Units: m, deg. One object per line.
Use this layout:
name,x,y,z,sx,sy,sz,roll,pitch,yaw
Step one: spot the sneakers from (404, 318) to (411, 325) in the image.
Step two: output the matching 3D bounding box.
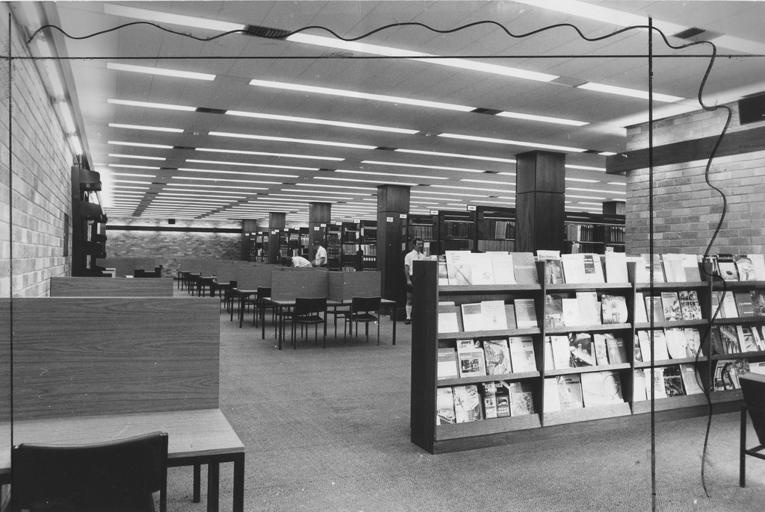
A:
sneakers,0.530,1.378,12.297,0.114,0.086,0.234,0,-5,0
